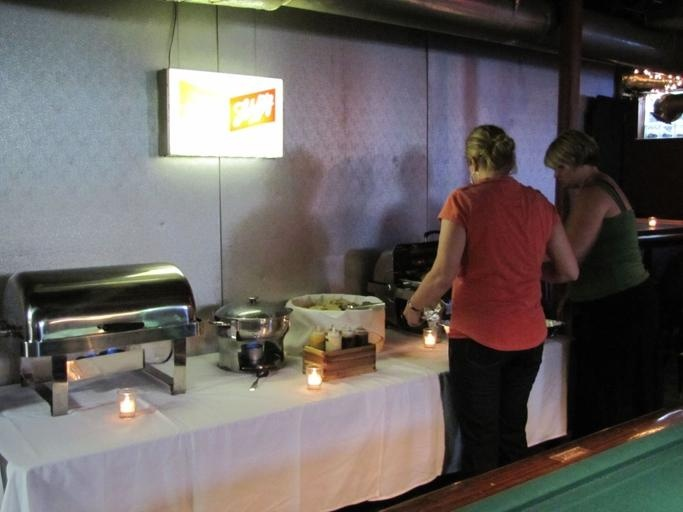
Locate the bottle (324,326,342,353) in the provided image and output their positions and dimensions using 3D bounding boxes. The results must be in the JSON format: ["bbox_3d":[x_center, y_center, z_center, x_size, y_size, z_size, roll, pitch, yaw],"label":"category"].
[{"bbox_3d":[-0.050,0.426,3.014,0.093,0.160,0.091,0,4,0],"label":"bottle"}]

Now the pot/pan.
[{"bbox_3d":[-0.447,0.306,2.925,0.222,0.123,0.295,2,4,30],"label":"pot/pan"}]

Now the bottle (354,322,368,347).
[{"bbox_3d":[0.102,0.411,3.073,0.071,0.124,0.082,0,2,21],"label":"bottle"}]

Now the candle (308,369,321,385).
[{"bbox_3d":[-0.126,0.559,2.755,0.067,0.074,0.068,0,-2,-8],"label":"candle"}]

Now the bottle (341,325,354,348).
[{"bbox_3d":[0.031,0.413,2.986,0.082,0.135,0.083,0,-1,0],"label":"bottle"}]

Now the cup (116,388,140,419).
[{"bbox_3d":[-0.888,0.608,2.480,0.094,0.145,0.095,2,6,0],"label":"cup"}]

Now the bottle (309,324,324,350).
[{"bbox_3d":[-0.122,0.424,3.114,0.093,0.162,0.092,1,5,0],"label":"bottle"}]

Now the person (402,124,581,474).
[{"bbox_3d":[0.704,0.339,2.706,0.721,1.392,0.361,-5,7,-13],"label":"person"}]

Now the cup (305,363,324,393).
[{"bbox_3d":[-0.127,0.563,2.759,0.095,0.141,0.097,-1,1,0],"label":"cup"}]

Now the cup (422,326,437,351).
[{"bbox_3d":[0.507,0.467,3.467,0.093,0.107,0.100,0,-2,0],"label":"cup"}]

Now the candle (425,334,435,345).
[{"bbox_3d":[0.509,0.473,3.419,0.055,0.061,0.056,0,4,12],"label":"candle"}]
